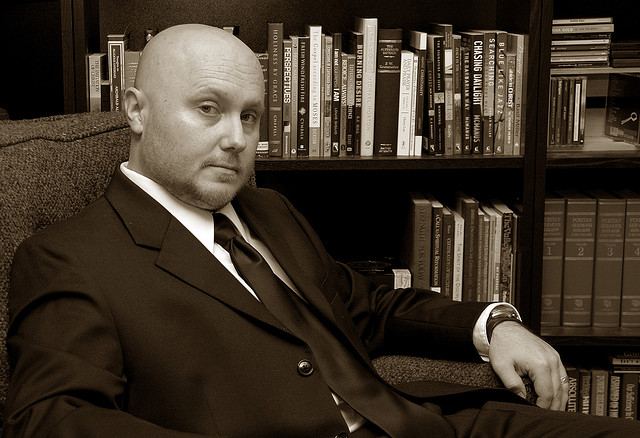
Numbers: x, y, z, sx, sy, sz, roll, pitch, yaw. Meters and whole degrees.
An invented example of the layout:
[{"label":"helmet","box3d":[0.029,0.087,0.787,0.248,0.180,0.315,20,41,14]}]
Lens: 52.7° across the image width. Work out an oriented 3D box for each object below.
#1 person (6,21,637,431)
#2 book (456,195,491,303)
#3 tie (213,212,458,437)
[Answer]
[{"label":"person","box3d":[-0.113,0.012,1.552,1.197,0.981,0.536,-2,5,-14]},{"label":"book","box3d":[0.528,0.118,2.211,0.135,0.249,0.259,1,23,4]},{"label":"tie","box3d":[0.033,0.311,1.501,0.111,0.875,0.266,-34,-29,-13]}]
